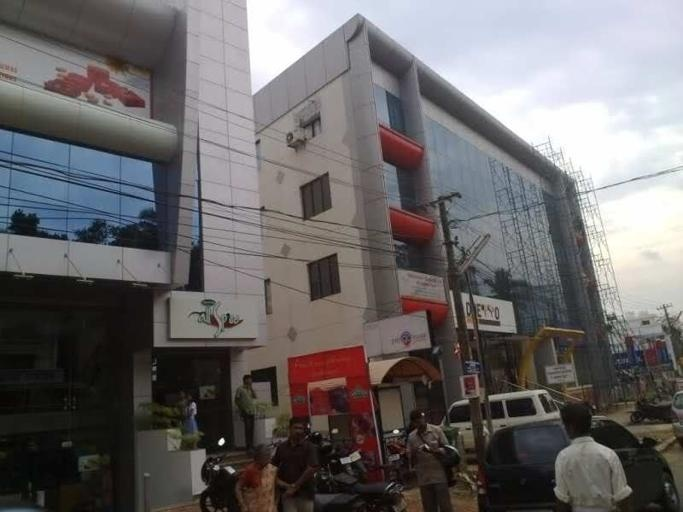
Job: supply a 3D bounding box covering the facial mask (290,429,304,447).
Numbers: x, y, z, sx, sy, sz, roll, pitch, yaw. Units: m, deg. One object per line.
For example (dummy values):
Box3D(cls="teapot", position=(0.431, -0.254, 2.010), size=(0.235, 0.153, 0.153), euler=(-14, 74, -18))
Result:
Box3D(cls="facial mask", position=(-0.802, 3.160, 9.253), size=(0.252, 0.428, 0.298), euler=(2, -19, -12))
